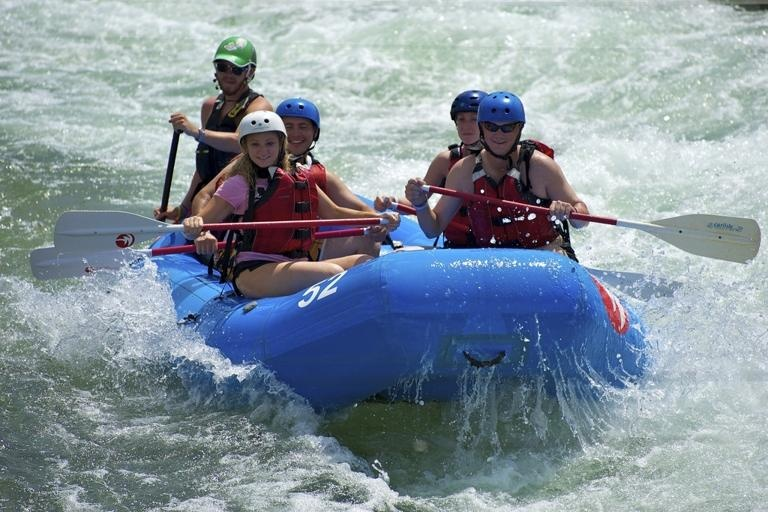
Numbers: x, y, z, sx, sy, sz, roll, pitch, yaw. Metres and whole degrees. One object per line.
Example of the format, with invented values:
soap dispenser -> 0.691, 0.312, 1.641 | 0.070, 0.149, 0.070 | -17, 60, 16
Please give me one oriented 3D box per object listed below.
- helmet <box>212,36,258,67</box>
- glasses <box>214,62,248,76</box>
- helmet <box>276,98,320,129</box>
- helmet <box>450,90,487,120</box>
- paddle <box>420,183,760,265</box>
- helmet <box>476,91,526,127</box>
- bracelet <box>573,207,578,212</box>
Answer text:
helmet -> -1.542, -2.143, 12.209 | 0.401, 0.270, 0.430 | 5, 23, -1
glasses -> -1.583, -1.948, 12.111 | 0.337, 0.145, 0.085 | 4, 25, -4
helmet -> -0.811, -1.420, 11.658 | 0.401, 0.286, 0.289 | 0, 2, -30
helmet -> 0.870, -1.543, 11.694 | 0.262, 0.309, 0.277 | -5, 54, 15
paddle -> 2.127, -0.299, 11.946 | 4.605, 0.555, 0.159 | 8, 25, 2
helmet -> 1.118, -1.357, 10.988 | 0.317, 0.284, 0.393 | 2, -11, 3
bracelet -> 1.789, -0.428, 10.863 | 0.048, 0.021, 0.058 | 12, 31, -10
